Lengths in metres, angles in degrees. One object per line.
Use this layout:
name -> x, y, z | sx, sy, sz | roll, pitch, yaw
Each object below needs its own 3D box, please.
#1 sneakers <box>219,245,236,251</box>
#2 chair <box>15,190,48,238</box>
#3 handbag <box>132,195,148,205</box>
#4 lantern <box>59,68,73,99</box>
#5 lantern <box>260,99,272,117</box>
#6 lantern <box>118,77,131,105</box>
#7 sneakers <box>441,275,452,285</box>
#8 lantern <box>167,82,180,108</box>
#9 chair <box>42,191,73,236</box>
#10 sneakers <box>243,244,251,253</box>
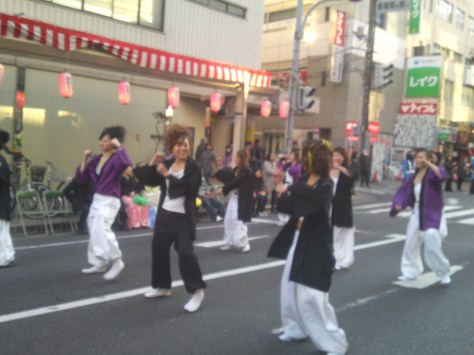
sneakers -> -0.201, 1.553, 9.674 | 0.341, 0.164, 0.122 | 3, -8, 3
chair -> -5.007, 0.869, 10.773 | 0.685, 1.094, 0.796 | -3, 1, -2
handbag -> -2.551, 0.612, 11.608 | 0.280, 0.187, 0.221 | 18, 0, -11
lantern -> -4.890, -2.693, 12.621 | 0.332, 0.754, 0.382 | -3, 6, -28
lantern -> 1.185, -2.804, 17.715 | 0.373, 0.661, 0.785 | 0, 5, -1
lantern -> -3.655, -2.789, 14.347 | 0.354, 0.805, 0.993 | -2, 6, -15
sneakers -> 3.667, 1.772, 7.701 | 0.186, 0.211, 0.132 | -7, 5, 2
lantern -> -2.164, -2.777, 15.140 | 0.347, 0.752, 0.628 | -2, 5, -13
chair -> -4.489, 0.883, 11.104 | 0.702, 1.073, 0.775 | -1, 1, -23
sneakers -> 0.217, 1.544, 9.531 | 0.091, 0.099, 0.222 | -29, -7, 16
